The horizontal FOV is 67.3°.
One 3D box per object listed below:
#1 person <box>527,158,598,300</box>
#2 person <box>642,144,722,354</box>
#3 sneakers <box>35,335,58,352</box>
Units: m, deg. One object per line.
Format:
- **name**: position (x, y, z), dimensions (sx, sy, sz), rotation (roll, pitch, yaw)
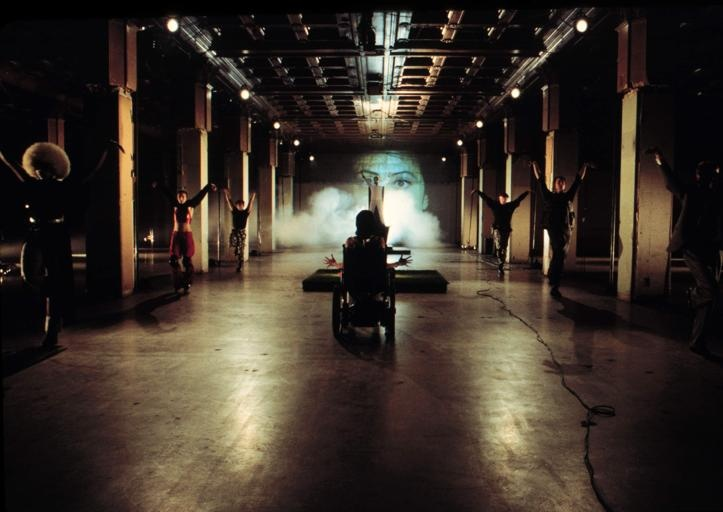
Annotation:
- **person**: position (3.471, -0.461, 9.576), dimensions (0.619, 2.339, 0.903), rotation (-7, 12, -36)
- **person**: position (3.814, -0.086, 6.151), dimensions (0.598, 2.244, 1.146), rotation (-1, 10, -4)
- **sneakers**: position (-3.561, 0.986, 6.195), dimensions (0.199, 0.153, 0.371), rotation (-5, 11, -29)
